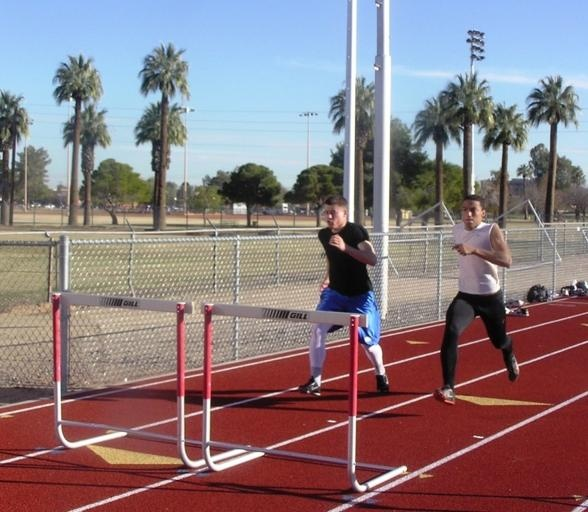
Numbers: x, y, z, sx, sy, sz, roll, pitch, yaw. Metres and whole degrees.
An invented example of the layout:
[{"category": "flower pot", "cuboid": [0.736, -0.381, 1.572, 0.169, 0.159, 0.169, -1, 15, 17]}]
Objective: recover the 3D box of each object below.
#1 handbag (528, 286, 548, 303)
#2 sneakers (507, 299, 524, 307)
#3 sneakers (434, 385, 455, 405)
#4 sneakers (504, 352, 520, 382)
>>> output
[{"category": "handbag", "cuboid": [5.844, 0.898, 16.384, 0.316, 0.251, 0.448, -3, 0, 15]}, {"category": "sneakers", "cuboid": [4.702, 1.004, 14.536, 0.280, 0.214, 0.195, 8, 7, 10]}, {"category": "sneakers", "cuboid": [1.478, 1.360, 6.605, 0.294, 0.165, 0.128, -3, 5, -39]}, {"category": "sneakers", "cuboid": [2.535, 1.307, 7.956, 0.133, 0.503, 0.193, -5, -2, 15]}]
